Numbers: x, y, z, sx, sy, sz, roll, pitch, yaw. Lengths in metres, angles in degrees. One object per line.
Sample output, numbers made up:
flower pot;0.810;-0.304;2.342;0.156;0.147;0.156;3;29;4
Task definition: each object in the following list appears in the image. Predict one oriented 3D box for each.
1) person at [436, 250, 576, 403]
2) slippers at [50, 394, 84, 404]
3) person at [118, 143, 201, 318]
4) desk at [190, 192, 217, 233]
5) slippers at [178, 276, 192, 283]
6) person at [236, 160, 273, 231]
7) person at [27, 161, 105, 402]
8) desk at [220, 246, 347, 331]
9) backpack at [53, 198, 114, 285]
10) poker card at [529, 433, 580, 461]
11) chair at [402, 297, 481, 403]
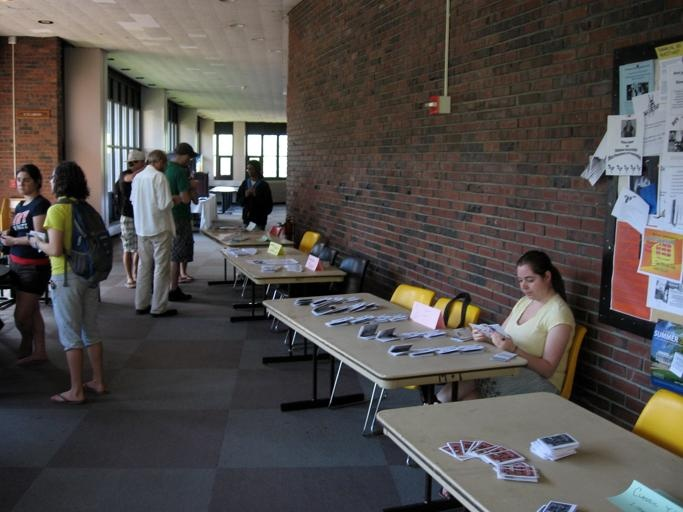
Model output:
person;1.167;0.493;3.099;0.587;1.035;0.531;-6;15;-22
slippers;-2.270;1.177;4.055;0.241;0.054;0.096;7;-1;1
person;-2.381;-0.282;6.317;0.836;2.047;0.815;0;1;-37
desk;-3.970;-1.245;14.020;0.810;0.687;2.061;-5;16;-12
slippers;-2.721;0.399;8.498;0.136;0.129;0.348;1;-4;-22
person;-1.516;-0.803;8.622;0.601;1.641;0.468;17;24;32
person;-2.096;0.189;4.126;0.716;1.703;0.959;0;1;-18
desk;-0.619;0.342;5.379;1.037;1.002;2.599;-1;5;-21
backpack;-2.038;-0.121;3.925;0.366;0.691;0.333;-14;19;-42
poker card;0.852;0.748;1.940;0.127;0.034;0.092;-5;9;-29
chair;0.767;0.600;3.709;0.459;0.676;0.477;1;9;-19
